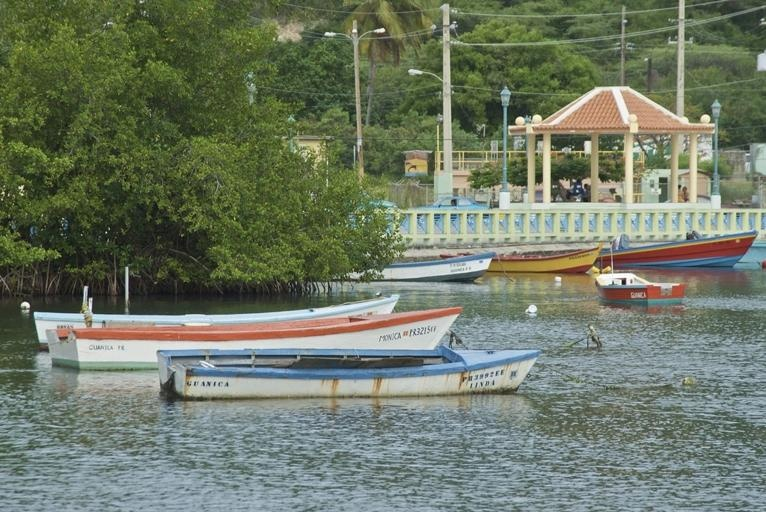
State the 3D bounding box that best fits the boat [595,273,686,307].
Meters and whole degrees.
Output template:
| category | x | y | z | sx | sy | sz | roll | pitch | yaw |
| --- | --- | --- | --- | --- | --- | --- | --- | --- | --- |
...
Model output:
| category | x | y | z | sx | sy | sz | roll | pitch | yaw |
| --- | --- | --- | --- | --- | --- | --- | --- | --- | --- |
| boat | 12.123 | 1.623 | 87.793 | 3.868 | 1.355 | 1.042 | -2 | 0 | 7 |
